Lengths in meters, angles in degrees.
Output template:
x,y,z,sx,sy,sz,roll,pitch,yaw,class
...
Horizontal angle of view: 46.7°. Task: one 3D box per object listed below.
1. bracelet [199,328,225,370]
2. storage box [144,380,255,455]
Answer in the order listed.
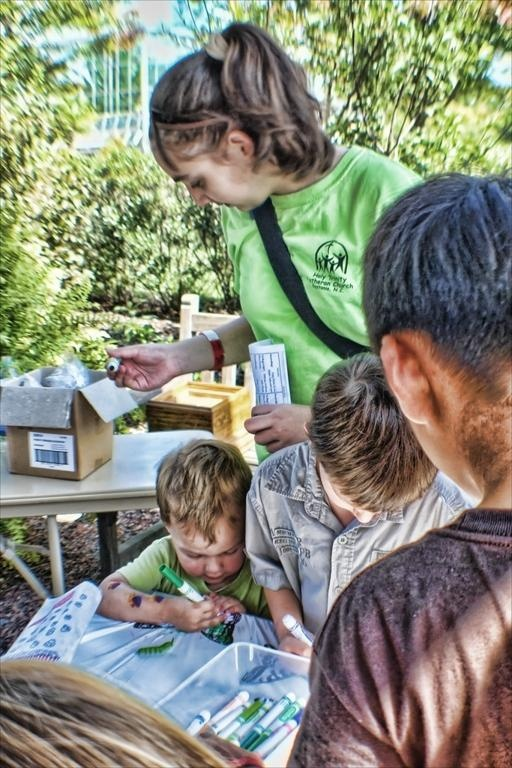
x,y,z,sx,sy,sz,roll,pitch,yaw,class
-0.138,-0.108,1.774,0.029,0.096,0.076,-15,60,-5,bracelet
-0.237,0.108,2.605,0.368,0.227,0.354,5,16,19,storage box
